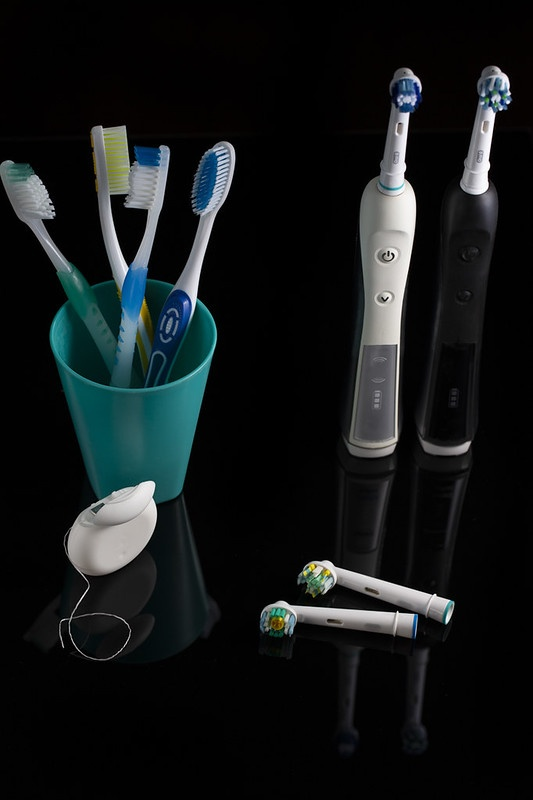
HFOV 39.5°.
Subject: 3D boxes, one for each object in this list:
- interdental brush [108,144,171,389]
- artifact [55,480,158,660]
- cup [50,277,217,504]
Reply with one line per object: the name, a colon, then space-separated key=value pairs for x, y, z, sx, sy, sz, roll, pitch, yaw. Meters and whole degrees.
interdental brush: x=-0.081 y=-0.091 z=0.485 sx=0.027 sy=0.212 sz=0.016 roll=8 pitch=11 yaw=17
artifact: x=-0.102 y=0.094 z=0.469 sx=0.053 sy=0.049 sz=0.096 roll=-14 pitch=37 yaw=-16
cup: x=-0.071 y=-0.003 z=0.564 sx=0.121 sy=0.167 sz=0.152 roll=-1 pitch=40 yaw=-3
